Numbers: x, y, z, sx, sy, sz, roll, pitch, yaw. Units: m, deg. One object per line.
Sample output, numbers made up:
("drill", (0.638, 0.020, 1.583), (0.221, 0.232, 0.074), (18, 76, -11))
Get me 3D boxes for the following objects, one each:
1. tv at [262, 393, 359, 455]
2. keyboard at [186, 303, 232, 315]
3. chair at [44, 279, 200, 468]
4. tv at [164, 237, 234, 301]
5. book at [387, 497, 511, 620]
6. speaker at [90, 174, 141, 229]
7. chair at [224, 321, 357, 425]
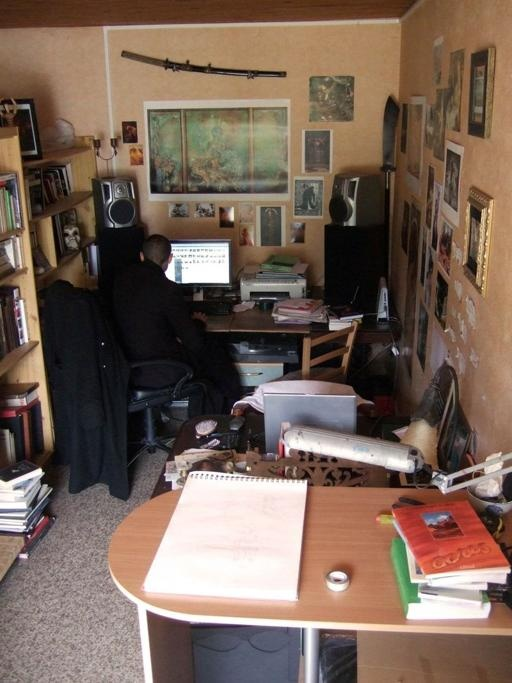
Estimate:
("tv", (0.160, 0.218, 1.603), (0.207, 0.202, 0.172), (3, 19, 9))
("keyboard", (-0.298, -0.233, 3.614), (0.171, 0.035, 0.116), (2, 22, 12))
("chair", (-0.854, 0.014, 3.403), (0.833, 1.426, 1.001), (-8, 22, -19))
("tv", (-0.407, -0.514, 3.674), (0.496, 0.364, 0.131), (1, 22, -1))
("book", (0.338, 0.360, 0.917), (0.137, 0.051, 0.167), (-2, 34, 8))
("speaker", (-0.942, -1.041, 3.800), (0.313, 0.438, 0.394), (-16, 31, -31))
("chair", (0.158, 0.116, 2.638), (0.379, 0.603, 0.401), (-7, 25, -23))
